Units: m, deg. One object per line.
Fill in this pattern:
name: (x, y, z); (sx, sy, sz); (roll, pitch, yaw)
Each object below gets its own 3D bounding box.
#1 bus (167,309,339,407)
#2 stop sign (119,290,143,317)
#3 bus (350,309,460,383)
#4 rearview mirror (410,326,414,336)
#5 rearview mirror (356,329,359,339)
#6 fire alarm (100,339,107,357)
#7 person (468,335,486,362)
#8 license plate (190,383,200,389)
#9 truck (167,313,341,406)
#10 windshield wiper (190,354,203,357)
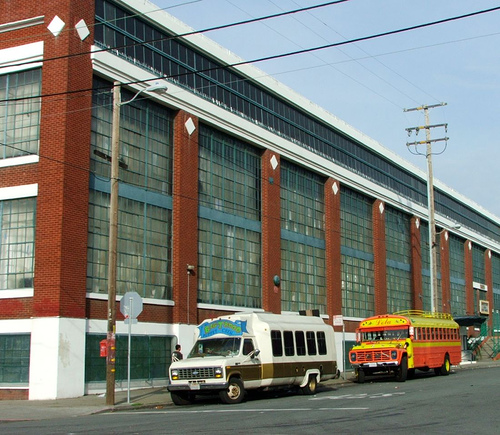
bus: (0.499, 5.533, 25.764); (2.846, 3.394, 8.056); (-11, -16, 38)
stop sign: (-4.125, 3.110, 22.719); (0.757, 0.880, 0.855); (1, -17, -15)
bus: (8.609, 6.923, 34.503); (3.074, 3.784, 8.488); (-11, -15, 37)
rearview mirror: (7.910, 5.596, 31.674); (0.159, 0.477, 0.364); (-9, -17, 21)
rearview mirror: (5.430, 5.933, 32.682); (0.092, 0.406, 0.384); (-3, 3, 4)
fire alarm: (-5.035, 4.558, 22.409); (0.204, 0.549, 0.316); (2, -17, -19)
person: (21.935, 12.900, 62.811); (0.503, 2.815, 1.027); (14, -29, 13)
license plate: (-1.842, 5.781, 21.963); (0.206, 0.212, 0.052); (0, -7, 4)
truck: (0.462, 5.671, 25.751); (2.755, 3.440, 8.154); (-11, -16, 34)
windshield wiper: (-1.905, 5.052, 23.488); (0.346, 0.055, 0.025); (4, -10, 25)
